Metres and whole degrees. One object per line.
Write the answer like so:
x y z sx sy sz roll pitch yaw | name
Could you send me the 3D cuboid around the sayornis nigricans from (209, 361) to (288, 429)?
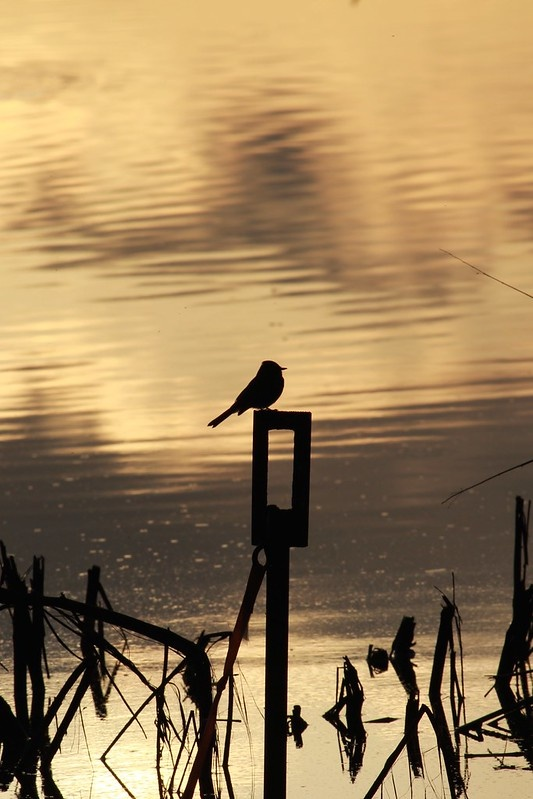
-0.099 -0.024 23.289 1.122 0.324 0.575 -21 -74 41 | sayornis nigricans
